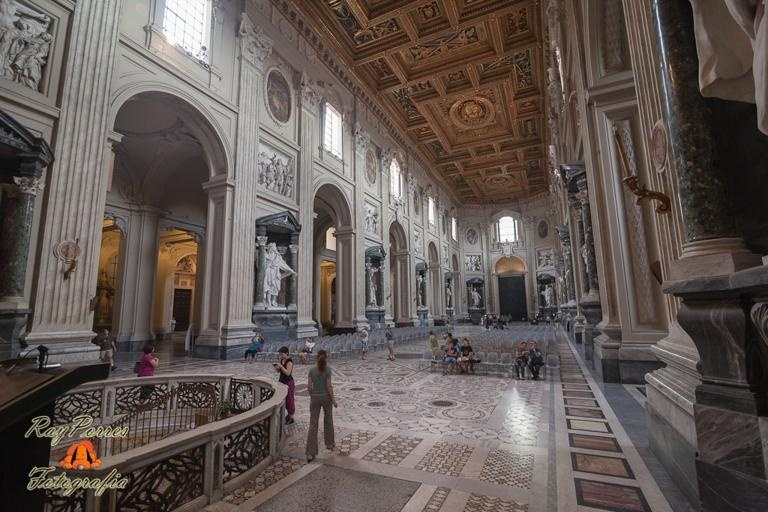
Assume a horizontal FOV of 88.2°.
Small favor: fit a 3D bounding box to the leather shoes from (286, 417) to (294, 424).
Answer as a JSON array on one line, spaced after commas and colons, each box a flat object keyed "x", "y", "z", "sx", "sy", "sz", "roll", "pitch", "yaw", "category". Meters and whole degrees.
[{"x": -1.477, "y": 2.588, "z": 6.257, "sx": 0.107, "sy": 0.083, "sz": 0.144, "roll": -1, "pitch": -4, "yaw": -16, "category": "leather shoes"}]

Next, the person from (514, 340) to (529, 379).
[{"x": 3.226, "y": 2.421, "z": 9.247, "sx": 0.303, "sy": 0.784, "sz": 0.559, "roll": -3, "pitch": -4, "yaw": 19, "category": "person"}]

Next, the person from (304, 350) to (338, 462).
[{"x": -0.860, "y": 1.928, "z": 5.380, "sx": 0.390, "sy": 1.293, "sz": 0.883, "roll": -1, "pitch": -4, "yaw": -7, "category": "person"}]

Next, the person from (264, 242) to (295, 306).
[{"x": -3.844, "y": 0.664, "z": 14.088, "sx": 0.506, "sy": 2.293, "sz": 1.370, "roll": -4, "pitch": -4, "yaw": 24, "category": "person"}]

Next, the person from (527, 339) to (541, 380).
[{"x": 3.470, "y": 2.347, "z": 9.035, "sx": 0.308, "sy": 0.846, "sz": 0.414, "roll": -3, "pitch": -4, "yaw": 19, "category": "person"}]

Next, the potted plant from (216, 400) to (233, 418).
[{"x": -2.449, "y": 2.351, "z": 6.096, "sx": 0.181, "sy": 0.313, "sz": 0.315, "roll": 0, "pitch": -4, "yaw": -25, "category": "potted plant"}]

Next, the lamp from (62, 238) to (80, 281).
[{"x": -6.652, "y": 0.060, "z": 8.470, "sx": 0.118, "sy": 0.856, "sz": 0.316, "roll": -3, "pitch": -4, "yaw": 19, "category": "lamp"}]

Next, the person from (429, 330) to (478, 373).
[{"x": 1.886, "y": 2.484, "z": 10.362, "sx": 1.032, "sy": 0.969, "sz": 1.272, "roll": -1, "pitch": -4, "yaw": -10, "category": "person"}]

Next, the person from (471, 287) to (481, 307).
[{"x": 8.529, "y": 3.808, "z": 36.349, "sx": 0.750, "sy": 1.761, "sz": 1.248, "roll": -3, "pitch": -4, "yaw": 18, "category": "person"}]

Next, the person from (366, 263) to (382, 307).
[{"x": -0.541, "y": 1.515, "z": 20.509, "sx": 0.447, "sy": 2.259, "sz": 1.200, "roll": -3, "pitch": -4, "yaw": 20, "category": "person"}]
